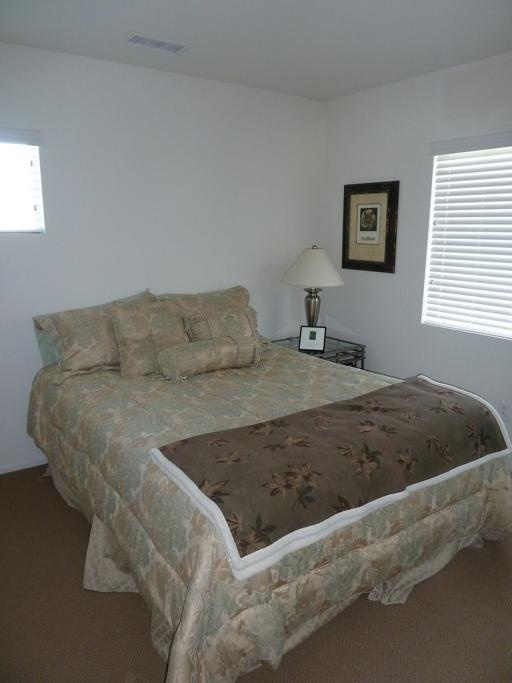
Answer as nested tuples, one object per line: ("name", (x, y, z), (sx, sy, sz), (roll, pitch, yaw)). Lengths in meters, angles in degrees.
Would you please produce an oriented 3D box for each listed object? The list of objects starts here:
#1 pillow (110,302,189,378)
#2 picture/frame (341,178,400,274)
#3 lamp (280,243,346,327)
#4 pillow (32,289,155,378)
("pillow", (-0.574, -0.023, 2.692), (0.388, 0.381, 0.115), (0, -14, -32))
("picture/frame", (0.849, -0.858, 3.754), (0.059, 0.775, 0.656), (-9, 15, -34))
("lamp", (0.456, -0.434, 3.874), (0.525, 0.793, 0.542), (4, 20, 14))
("pillow", (-0.872, -0.040, 2.713), (0.478, 0.419, 0.142), (-16, -19, -17))
